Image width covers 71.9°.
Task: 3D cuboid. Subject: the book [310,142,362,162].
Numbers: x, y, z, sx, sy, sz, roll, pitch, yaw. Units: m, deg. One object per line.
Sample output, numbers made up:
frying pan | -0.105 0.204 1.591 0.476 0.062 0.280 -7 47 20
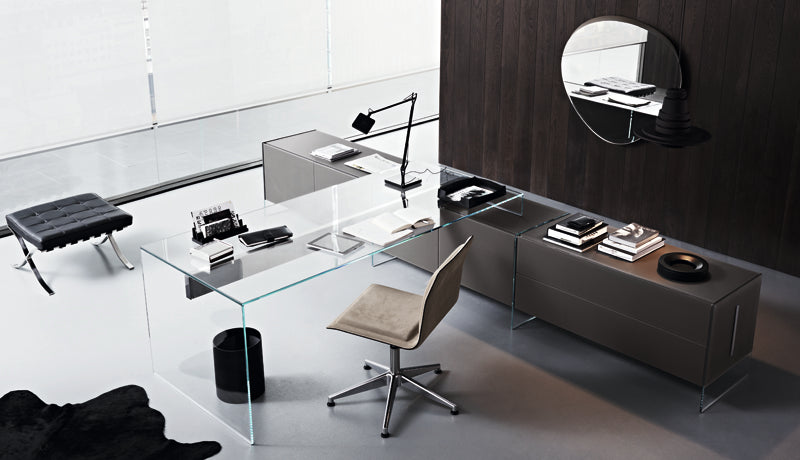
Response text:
book | -0.724 -0.842 5.911 0.306 0.067 0.293 -20 31 -39

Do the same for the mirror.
mirror | 2.354 -1.606 5.751 1.519 1.462 0.201 19 33 32

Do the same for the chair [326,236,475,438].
chair | 0.001 0.750 4.474 1.138 1.410 1.123 14 21 36

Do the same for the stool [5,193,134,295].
stool | -3.426 0.063 5.785 0.961 0.622 0.880 -27 39 -34

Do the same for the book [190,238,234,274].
book | -1.452 0.187 4.254 0.246 0.105 0.249 21 31 37

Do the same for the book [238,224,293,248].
book | -1.078 0.053 4.454 0.308 0.058 0.182 -14 28 -19
